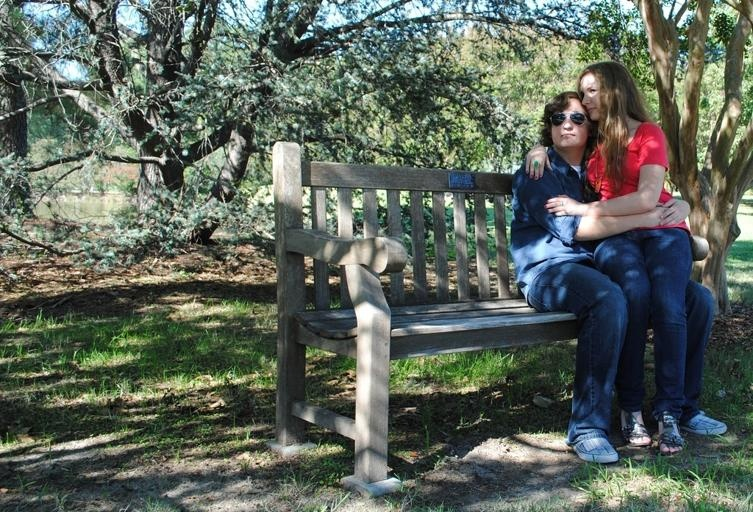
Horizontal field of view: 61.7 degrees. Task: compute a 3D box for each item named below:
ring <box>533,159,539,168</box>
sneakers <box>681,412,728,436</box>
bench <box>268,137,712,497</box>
[{"bbox_3d":[1.011,-0.595,4.011,0.036,0.042,0.018,4,-1,25],"label":"ring"},{"bbox_3d":[1.959,0.986,3.770,0.226,0.103,0.126,-4,1,30],"label":"sneakers"},{"bbox_3d":[0.185,0.216,3.718,1.581,1.748,1.182,-9,14,-38],"label":"bench"}]
